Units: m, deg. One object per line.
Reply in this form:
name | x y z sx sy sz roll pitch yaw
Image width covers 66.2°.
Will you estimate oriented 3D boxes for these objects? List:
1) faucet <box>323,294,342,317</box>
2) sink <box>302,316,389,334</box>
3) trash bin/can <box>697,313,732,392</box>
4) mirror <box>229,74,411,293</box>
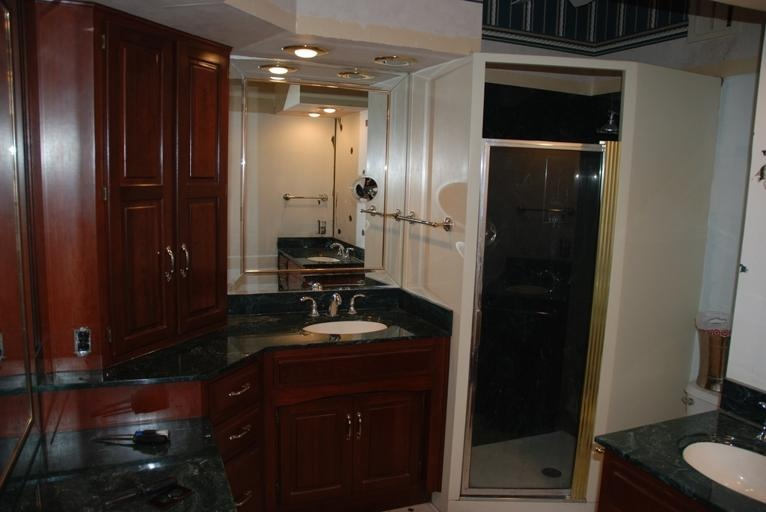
faucet | -0.329 0.322 3.995 0.114 0.148 0.166 -1 10 -4
sink | -0.222 0.476 3.832 0.526 0.090 0.235 2 9 8
trash bin/can | 2.025 0.581 3.627 0.182 0.440 0.225 5 11 27
mirror | -0.469 -0.537 3.979 1.483 1.840 0.074 -2 8 -16
